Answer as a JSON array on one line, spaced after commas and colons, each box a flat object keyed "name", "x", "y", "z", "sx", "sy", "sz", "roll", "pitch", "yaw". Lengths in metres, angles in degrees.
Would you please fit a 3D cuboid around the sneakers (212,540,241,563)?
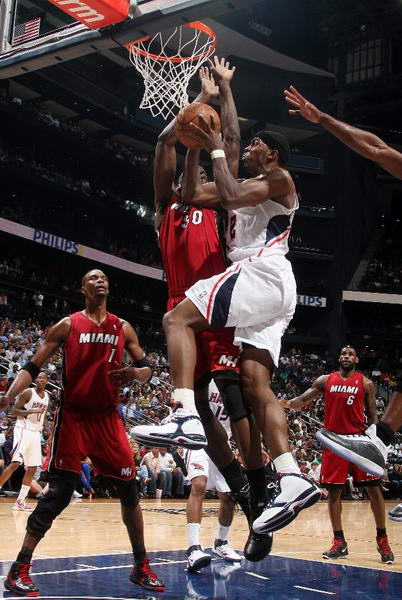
[{"name": "sneakers", "x": 0.196, "y": 2.020, "z": 3.977, "sx": 0.109, "sy": 0.116, "sz": 0.293, "roll": 13, "pitch": -15, "yaw": -31}]

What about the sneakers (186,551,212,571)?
[{"name": "sneakers", "x": -0.007, "y": 1.698, "z": 3.236, "sx": 0.094, "sy": 0.115, "sz": 0.253, "roll": 6, "pitch": -34, "yaw": -25}]

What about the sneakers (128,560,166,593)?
[{"name": "sneakers", "x": -0.316, "y": 1.529, "z": 2.745, "sx": 0.092, "sy": 0.149, "sz": 0.244, "roll": 19, "pitch": -22, "yaw": -36}]

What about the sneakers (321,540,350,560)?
[{"name": "sneakers", "x": 1.255, "y": 2.318, "z": 4.630, "sx": 0.130, "sy": 0.189, "sz": 0.376, "roll": -14, "pitch": -24, "yaw": 41}]

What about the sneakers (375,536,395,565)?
[{"name": "sneakers", "x": 1.656, "y": 2.256, "z": 4.473, "sx": 0.097, "sy": 0.132, "sz": 0.298, "roll": -4, "pitch": -5, "yaw": 3}]

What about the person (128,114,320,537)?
[{"name": "person", "x": 0.155, "y": 0.044, "z": 2.204, "sx": 0.686, "sy": 1.811, "sz": 0.933, "roll": -1, "pitch": -5, "yaw": 12}]

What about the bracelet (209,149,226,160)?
[{"name": "bracelet", "x": 0.071, "y": -0.644, "z": 2.185, "sx": 0.065, "sy": 0.049, "sz": 0.063, "roll": 1, "pitch": -15, "yaw": -2}]

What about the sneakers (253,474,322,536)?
[{"name": "sneakers", "x": 0.288, "y": 0.733, "z": 1.822, "sx": 0.260, "sy": 0.089, "sz": 0.175, "roll": -34, "pitch": 32, "yaw": -3}]
